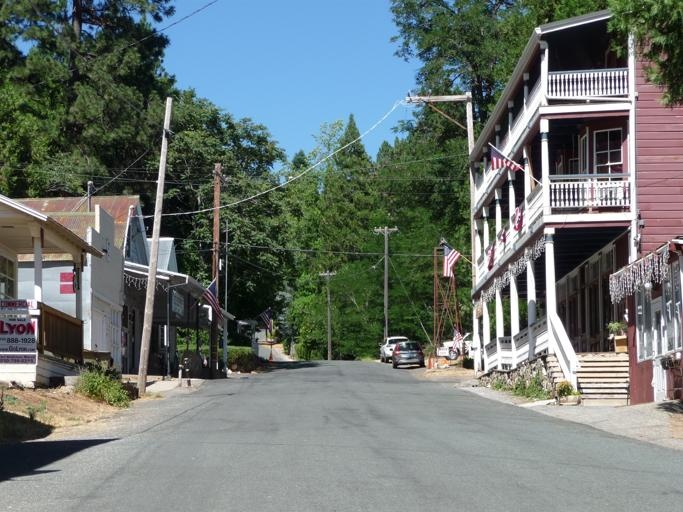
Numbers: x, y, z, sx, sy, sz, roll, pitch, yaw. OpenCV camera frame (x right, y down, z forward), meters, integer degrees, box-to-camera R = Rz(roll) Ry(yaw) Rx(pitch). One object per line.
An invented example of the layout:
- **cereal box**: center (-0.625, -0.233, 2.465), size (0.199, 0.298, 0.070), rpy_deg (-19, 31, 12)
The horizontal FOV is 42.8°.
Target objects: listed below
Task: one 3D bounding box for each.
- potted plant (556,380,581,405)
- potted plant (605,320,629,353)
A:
- **potted plant**: center (6.435, 3.944, 25.117), size (0.479, 0.412, 0.638), rpy_deg (1, -1, 7)
- **potted plant**: center (8.672, 2.493, 27.418), size (0.749, 1.198, 0.982), rpy_deg (1, -9, 6)
